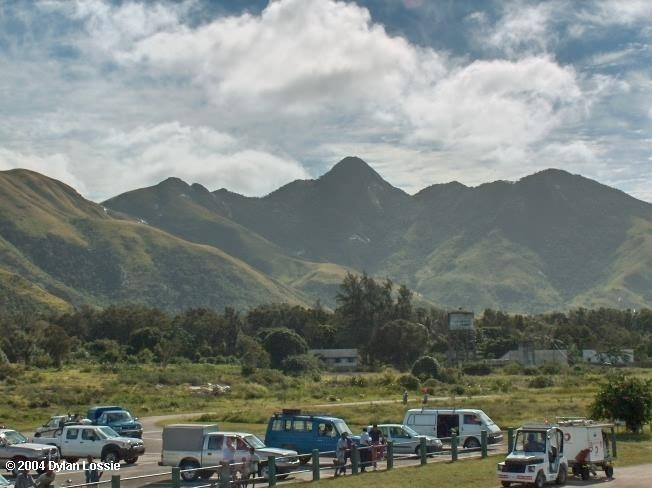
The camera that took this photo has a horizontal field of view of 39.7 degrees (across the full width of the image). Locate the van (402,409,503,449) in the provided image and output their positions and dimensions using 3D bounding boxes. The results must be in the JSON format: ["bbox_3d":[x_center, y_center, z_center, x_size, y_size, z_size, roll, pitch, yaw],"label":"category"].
[{"bbox_3d":[12.831,18.859,92.121,9.145,3.833,3.067,2,-7,-14],"label":"van"}]

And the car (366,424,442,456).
[{"bbox_3d":[7.852,19.259,89.155,6.962,2.631,2.664,3,-8,-20],"label":"car"}]
